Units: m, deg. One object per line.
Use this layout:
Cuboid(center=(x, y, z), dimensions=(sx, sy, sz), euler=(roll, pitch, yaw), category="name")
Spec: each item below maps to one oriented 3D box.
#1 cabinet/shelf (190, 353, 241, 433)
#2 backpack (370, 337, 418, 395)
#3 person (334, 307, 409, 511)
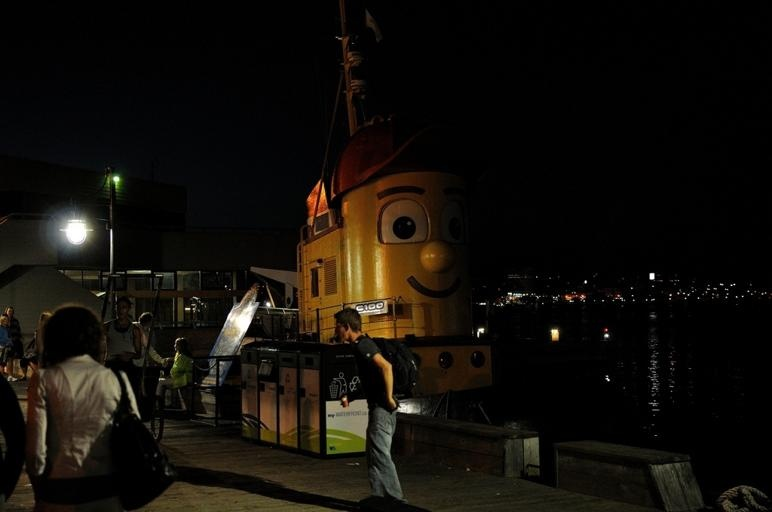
Cuboid(center=(-4.032, 3.211, 16.548), dimensions=(1.271, 1.762, 1.682), euler=(-1, -4, 41), category="cabinet/shelf")
Cuboid(center=(0.126, 1.343, 9.331), dimensions=(0.536, 0.541, 0.383), euler=(4, 11, 39), category="backpack")
Cuboid(center=(-0.103, 2.042, 9.270), dimensions=(0.786, 2.722, 0.968), euler=(-3, -4, -24), category="person")
